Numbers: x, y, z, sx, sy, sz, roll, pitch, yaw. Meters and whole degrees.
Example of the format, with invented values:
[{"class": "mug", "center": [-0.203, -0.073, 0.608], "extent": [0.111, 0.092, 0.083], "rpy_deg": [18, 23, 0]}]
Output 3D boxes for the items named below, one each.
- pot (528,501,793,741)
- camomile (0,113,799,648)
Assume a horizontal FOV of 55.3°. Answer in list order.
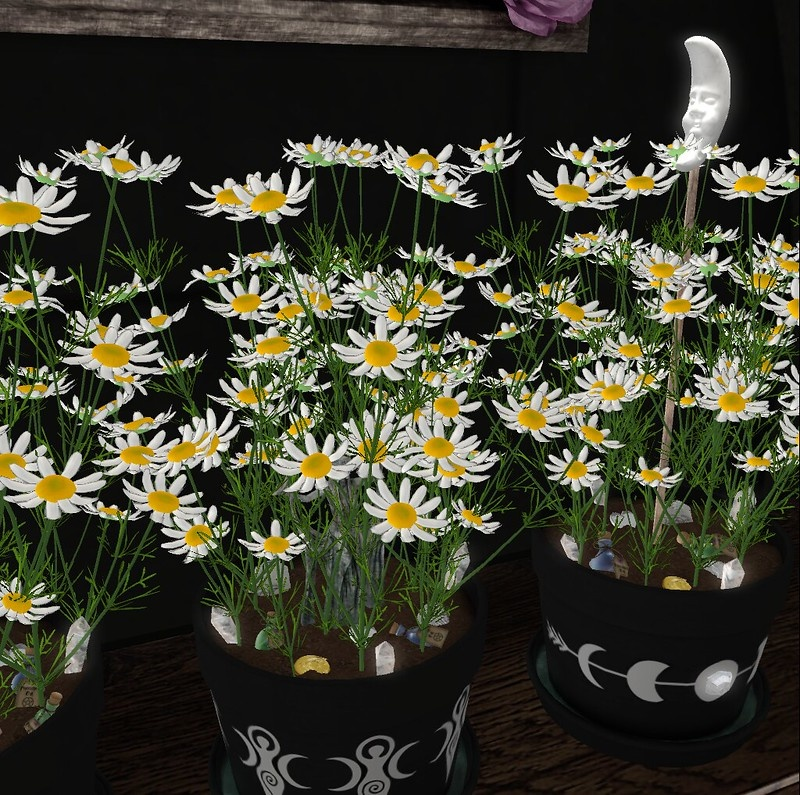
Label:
[{"class": "pot", "center": [0.327, 0.259, 1.011], "extent": [0.264, 0.201, 0.284], "rpy_deg": [2, 18, -1]}, {"class": "camomile", "center": [-0.020, -0.016, 0.927], "extent": [0.699, 0.457, 0.350], "rpy_deg": [-5, 27, -9]}]
